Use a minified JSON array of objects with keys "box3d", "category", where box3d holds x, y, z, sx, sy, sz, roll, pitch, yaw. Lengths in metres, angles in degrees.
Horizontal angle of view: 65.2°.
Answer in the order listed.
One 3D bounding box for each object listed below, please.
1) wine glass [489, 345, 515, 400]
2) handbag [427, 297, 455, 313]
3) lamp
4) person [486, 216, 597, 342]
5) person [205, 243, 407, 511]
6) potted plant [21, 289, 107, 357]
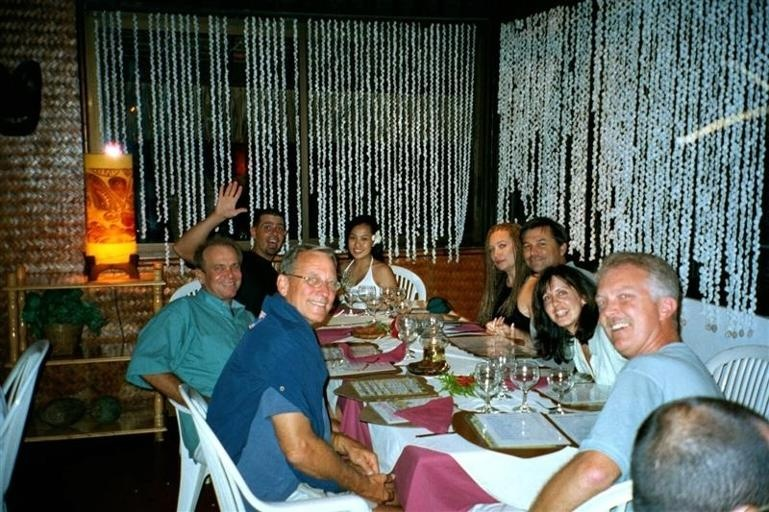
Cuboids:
[{"box3d":[0.549,0.544,2.814,0.111,0.227,0.109,1,-6,-32],"category":"wine glass"},{"box3d":[0.414,0.361,4.533,0.154,0.088,0.206,0,6,1],"category":"handbag"},{"box3d":[-2.031,-0.343,4.430,0.345,0.797,0.203,-3,15,-21],"category":"lamp"},{"box3d":[1.096,0.135,4.113,0.764,0.840,0.587,-3,10,-12],"category":"person"},{"box3d":[-0.317,0.507,2.980,1.062,1.243,0.821,1,6,-18],"category":"person"},{"box3d":[-2.331,0.480,4.364,0.549,0.477,0.229,-2,14,-18],"category":"potted plant"}]
